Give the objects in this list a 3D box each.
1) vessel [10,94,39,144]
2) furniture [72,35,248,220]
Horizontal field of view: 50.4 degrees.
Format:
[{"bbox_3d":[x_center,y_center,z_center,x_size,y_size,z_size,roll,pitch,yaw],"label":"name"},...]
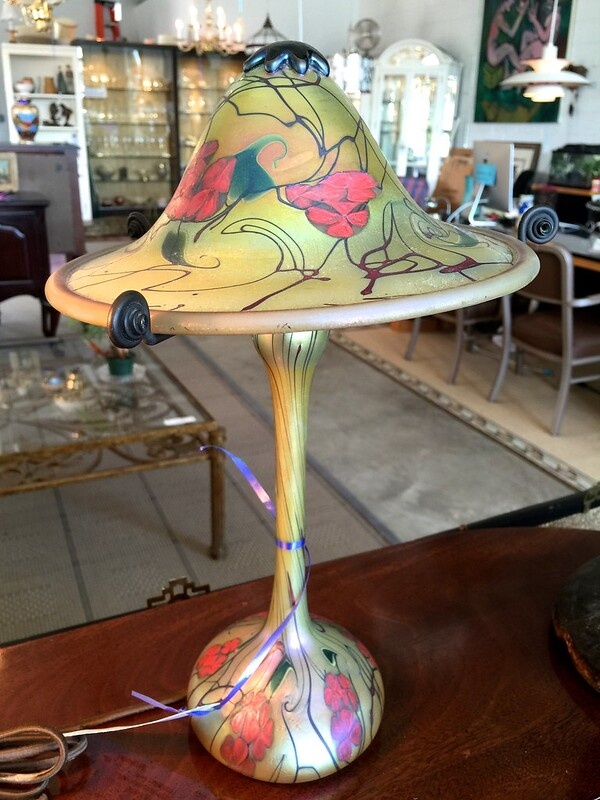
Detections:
[{"bbox_3d":[-1.929,-1.964,4.493,0.166,0.290,0.704,-7,24,-20],"label":"vessel"},{"bbox_3d":[-1.528,-2.998,7.225,1.994,1.610,0.603,-9,24,-27],"label":"furniture"}]
